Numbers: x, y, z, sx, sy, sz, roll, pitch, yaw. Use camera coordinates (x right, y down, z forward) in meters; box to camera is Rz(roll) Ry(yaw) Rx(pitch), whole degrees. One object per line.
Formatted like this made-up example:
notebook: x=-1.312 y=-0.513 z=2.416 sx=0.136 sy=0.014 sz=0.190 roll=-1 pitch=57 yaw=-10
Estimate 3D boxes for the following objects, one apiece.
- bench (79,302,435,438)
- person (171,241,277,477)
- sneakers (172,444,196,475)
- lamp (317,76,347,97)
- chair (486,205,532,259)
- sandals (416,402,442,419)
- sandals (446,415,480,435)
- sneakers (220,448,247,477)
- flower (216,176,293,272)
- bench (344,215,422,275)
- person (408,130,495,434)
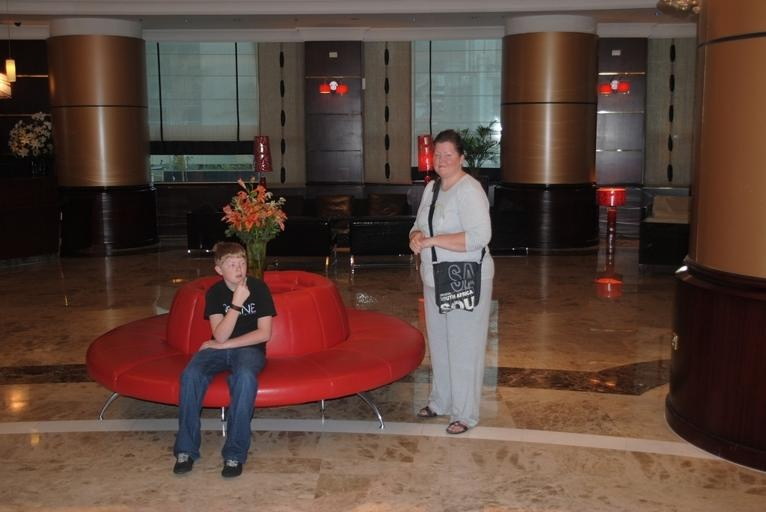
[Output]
bench: x=-0.691 y=0.761 z=4.957 sx=1.595 sy=0.392 sz=1.474 roll=0 pitch=8 yaw=-1
person: x=-1.109 y=0.680 z=4.327 sx=0.565 sy=1.432 sz=0.814 roll=2 pitch=14 yaw=8
sneakers: x=-1.330 y=1.356 z=4.174 sx=0.138 sy=0.172 sz=0.121 roll=-5 pitch=15 yaw=-18
lamp: x=-1.031 y=-3.628 z=13.368 sx=0.628 sy=0.331 sz=0.238 roll=-2 pitch=14 yaw=-6
chair: x=2.071 y=-0.376 z=10.273 sx=1.102 sy=0.914 sz=0.545 roll=-2 pitch=3 yaw=-3
sandals: x=0.360 y=1.212 z=4.860 sx=0.178 sy=0.064 sz=0.092 roll=1 pitch=5 yaw=4
sandals: x=0.588 y=1.250 z=4.633 sx=0.232 sy=0.059 sz=0.109 roll=-1 pitch=7 yaw=-36
sneakers: x=-0.984 y=1.376 z=4.111 sx=0.100 sy=0.093 sz=0.255 roll=1 pitch=-1 yaw=-4
flower: x=-1.119 y=-0.177 z=5.513 sx=0.588 sy=0.745 sz=0.510 roll=2 pitch=-11 yaw=-28
bench: x=-0.062 y=-0.248 z=10.424 sx=1.135 sy=0.755 sz=0.967 roll=-1 pitch=9 yaw=-2
person: x=0.499 y=0.191 z=4.612 sx=0.597 sy=2.202 sz=0.602 roll=-6 pitch=16 yaw=-21
